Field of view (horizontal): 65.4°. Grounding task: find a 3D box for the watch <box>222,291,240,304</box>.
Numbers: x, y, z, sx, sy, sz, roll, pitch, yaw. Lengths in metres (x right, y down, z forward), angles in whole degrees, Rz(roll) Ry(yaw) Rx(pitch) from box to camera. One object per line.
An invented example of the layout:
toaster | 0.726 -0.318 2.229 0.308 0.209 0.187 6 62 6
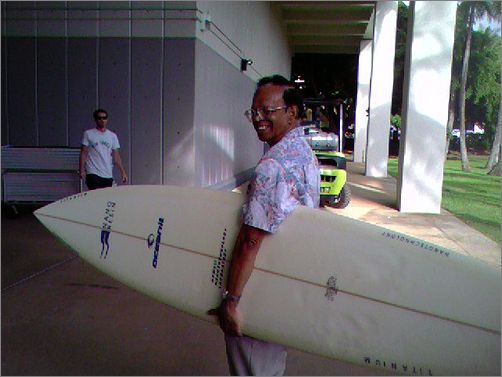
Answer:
watch | -0.113 0.587 2.114 0.066 0.049 0.056 10 -6 10

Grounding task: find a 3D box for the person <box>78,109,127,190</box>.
person | -2.209 -0.579 5.712 0.664 1.151 0.484 -3 11 -23
